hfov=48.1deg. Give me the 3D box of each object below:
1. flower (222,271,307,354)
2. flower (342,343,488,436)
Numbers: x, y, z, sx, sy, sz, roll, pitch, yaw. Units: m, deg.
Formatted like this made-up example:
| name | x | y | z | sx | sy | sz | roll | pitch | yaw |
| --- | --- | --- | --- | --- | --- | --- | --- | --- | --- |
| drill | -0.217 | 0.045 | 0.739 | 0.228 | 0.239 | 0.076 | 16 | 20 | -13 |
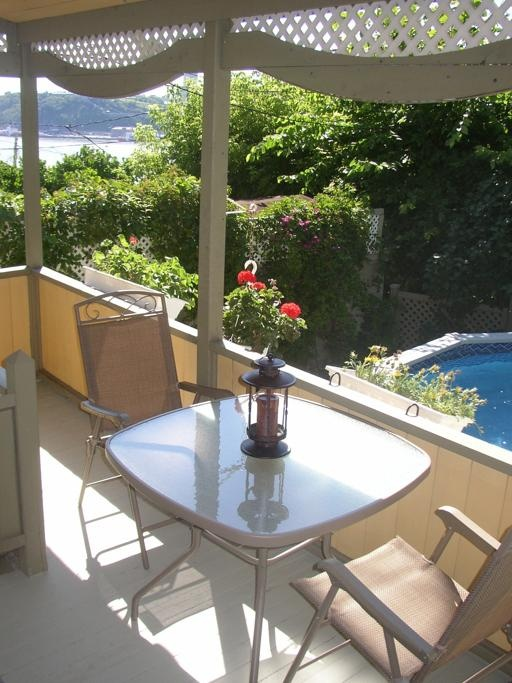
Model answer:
| name | x | y | z | sx | sy | sz | roll | pitch | yaw |
| --- | --- | --- | --- | --- | --- | --- | --- | --- | --- |
| flower | 0.064 | -0.214 | 5.251 | 0.738 | 0.730 | 0.569 | 2 | 13 | -1 |
| flower | 1.283 | 0.327 | 4.321 | 0.981 | 0.370 | 0.618 | 31 | 30 | 23 |
